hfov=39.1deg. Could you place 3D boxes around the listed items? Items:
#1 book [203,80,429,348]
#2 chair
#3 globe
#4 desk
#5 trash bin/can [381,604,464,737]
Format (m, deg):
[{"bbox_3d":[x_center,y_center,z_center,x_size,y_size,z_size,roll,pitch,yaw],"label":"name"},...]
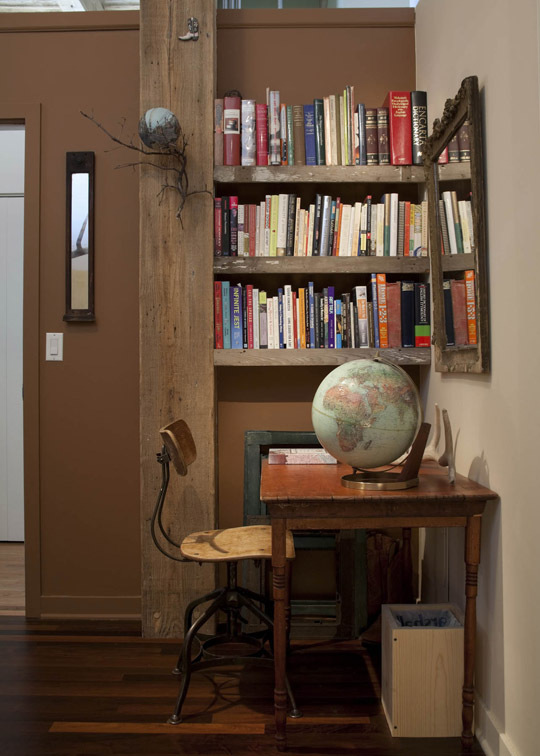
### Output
[{"bbox_3d":[0.184,-0.638,3.084,1.028,1.054,0.354,0,-2,-8],"label":"book"},{"bbox_3d":[-0.164,0.666,2.732,0.475,0.942,0.442,-1,1,-6],"label":"chair"},{"bbox_3d":[0.315,0.131,2.390,0.332,0.432,0.358,-10,13,-27],"label":"globe"},{"bbox_3d":[0.317,0.540,2.437,0.819,0.857,0.685,0,3,0],"label":"desk"},{"bbox_3d":[0.456,0.904,2.486,0.262,0.428,0.404,0,-1,0],"label":"trash bin/can"}]
